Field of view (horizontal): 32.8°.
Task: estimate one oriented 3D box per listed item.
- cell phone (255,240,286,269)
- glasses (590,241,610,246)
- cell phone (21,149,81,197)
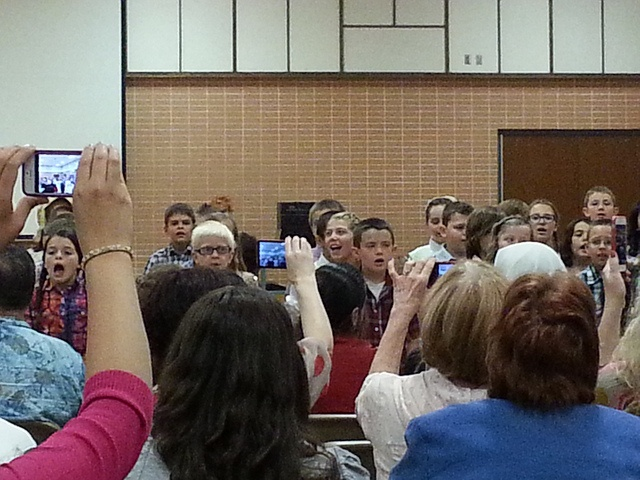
[{"bbox_3d":[-0.361,0.090,8.064,0.206,0.163,0.028,2,-6,-8],"label":"cell phone"},{"bbox_3d":[2.083,0.011,8.079,0.133,0.050,0.053,1,3,43],"label":"glasses"},{"bbox_3d":[-1.359,-0.342,5.500,0.239,0.150,0.026,-2,-14,-3],"label":"cell phone"}]
